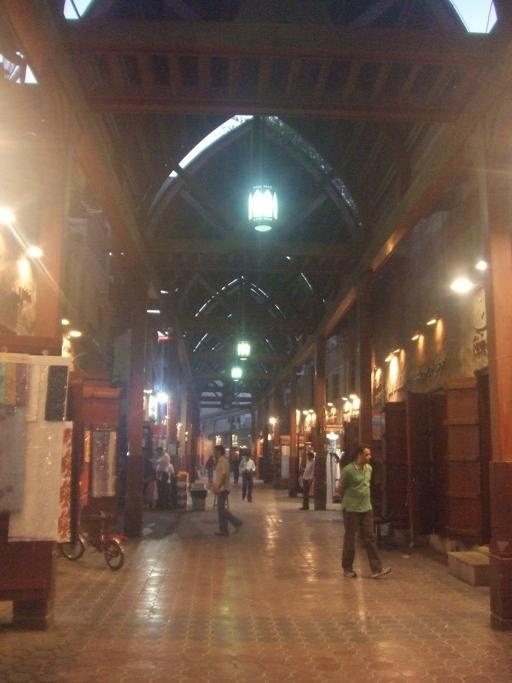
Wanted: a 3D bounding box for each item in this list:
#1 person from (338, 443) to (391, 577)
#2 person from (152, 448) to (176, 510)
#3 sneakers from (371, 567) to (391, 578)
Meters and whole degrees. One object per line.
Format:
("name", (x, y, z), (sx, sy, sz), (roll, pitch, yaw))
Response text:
("person", (1.378, 2.245, 7.818), (0.578, 1.665, 0.562), (-1, -12, 8))
("person", (-2.852, 4.434, 18.452), (0.599, 1.668, 1.149), (2, -13, -6))
("sneakers", (1.565, 2.958, 7.500), (0.230, 0.133, 0.354), (-2, -15, 10))
